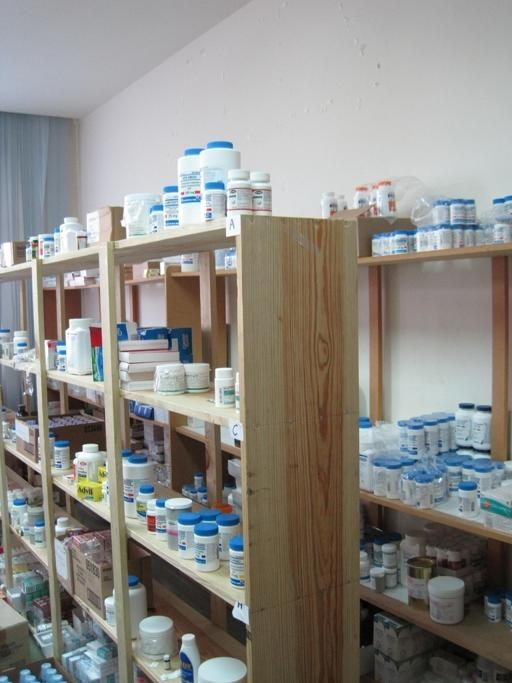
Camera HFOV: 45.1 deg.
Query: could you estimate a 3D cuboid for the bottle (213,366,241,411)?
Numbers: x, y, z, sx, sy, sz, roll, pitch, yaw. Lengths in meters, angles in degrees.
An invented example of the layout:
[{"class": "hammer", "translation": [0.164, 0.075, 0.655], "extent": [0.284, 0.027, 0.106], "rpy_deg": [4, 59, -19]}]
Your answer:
[{"class": "bottle", "translation": [-0.063, 0.096, 1.326], "extent": [0.082, 0.116, 0.079], "rpy_deg": [-1, -7, 0]}]
